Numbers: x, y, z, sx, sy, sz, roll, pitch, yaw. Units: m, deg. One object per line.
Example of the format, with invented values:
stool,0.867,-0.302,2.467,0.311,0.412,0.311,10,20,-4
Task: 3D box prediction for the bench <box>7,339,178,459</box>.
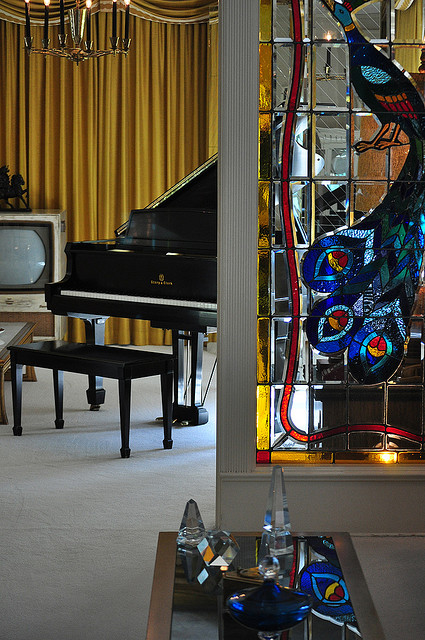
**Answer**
bench,-0.685,0.420,3.671,1.035,0.537,0.467,3,5,35
